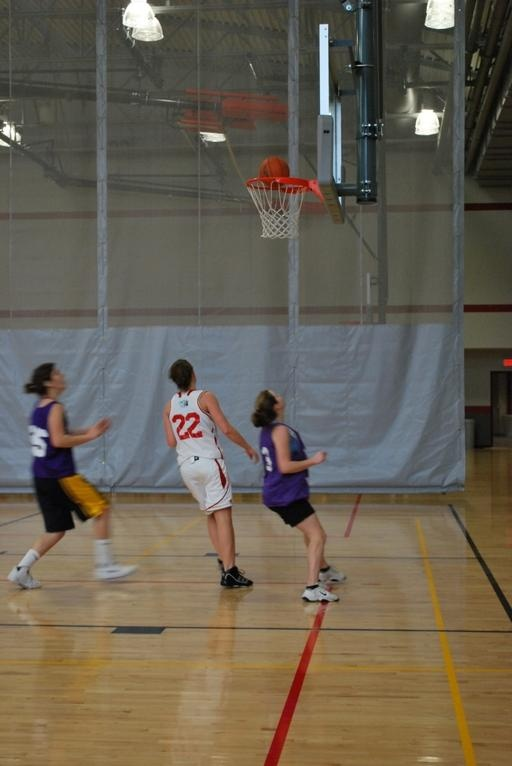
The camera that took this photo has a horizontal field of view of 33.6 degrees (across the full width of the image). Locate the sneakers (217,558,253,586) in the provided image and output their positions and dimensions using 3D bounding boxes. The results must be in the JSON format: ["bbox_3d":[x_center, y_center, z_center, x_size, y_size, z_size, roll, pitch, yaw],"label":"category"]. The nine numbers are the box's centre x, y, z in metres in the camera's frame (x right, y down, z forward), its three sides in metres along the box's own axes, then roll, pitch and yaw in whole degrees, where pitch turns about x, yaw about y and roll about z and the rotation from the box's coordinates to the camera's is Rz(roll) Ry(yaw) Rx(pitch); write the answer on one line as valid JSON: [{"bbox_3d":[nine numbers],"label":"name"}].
[{"bbox_3d":[-0.077,1.070,4.713,0.264,0.155,0.084,2,-3,-13],"label":"sneakers"}]

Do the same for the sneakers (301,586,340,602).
[{"bbox_3d":[0.319,1.077,4.347,0.220,0.089,0.074,0,0,-5],"label":"sneakers"}]

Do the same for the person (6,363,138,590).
[{"bbox_3d":[-1.044,0.513,4.584,0.662,1.247,0.326,0,9,18],"label":"person"}]

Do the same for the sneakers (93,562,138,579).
[{"bbox_3d":[-0.784,1.036,4.747,0.274,0.111,0.087,-6,-3,1],"label":"sneakers"}]

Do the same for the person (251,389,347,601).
[{"bbox_3d":[0.220,0.599,4.449,0.429,1.120,0.500,-2,9,4],"label":"person"}]

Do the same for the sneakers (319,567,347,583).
[{"bbox_3d":[0.432,1.080,4.776,0.187,0.076,0.063,3,9,-12],"label":"sneakers"}]

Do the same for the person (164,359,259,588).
[{"bbox_3d":[-0.240,0.513,4.720,0.488,1.298,0.482,-4,9,-6],"label":"person"}]
